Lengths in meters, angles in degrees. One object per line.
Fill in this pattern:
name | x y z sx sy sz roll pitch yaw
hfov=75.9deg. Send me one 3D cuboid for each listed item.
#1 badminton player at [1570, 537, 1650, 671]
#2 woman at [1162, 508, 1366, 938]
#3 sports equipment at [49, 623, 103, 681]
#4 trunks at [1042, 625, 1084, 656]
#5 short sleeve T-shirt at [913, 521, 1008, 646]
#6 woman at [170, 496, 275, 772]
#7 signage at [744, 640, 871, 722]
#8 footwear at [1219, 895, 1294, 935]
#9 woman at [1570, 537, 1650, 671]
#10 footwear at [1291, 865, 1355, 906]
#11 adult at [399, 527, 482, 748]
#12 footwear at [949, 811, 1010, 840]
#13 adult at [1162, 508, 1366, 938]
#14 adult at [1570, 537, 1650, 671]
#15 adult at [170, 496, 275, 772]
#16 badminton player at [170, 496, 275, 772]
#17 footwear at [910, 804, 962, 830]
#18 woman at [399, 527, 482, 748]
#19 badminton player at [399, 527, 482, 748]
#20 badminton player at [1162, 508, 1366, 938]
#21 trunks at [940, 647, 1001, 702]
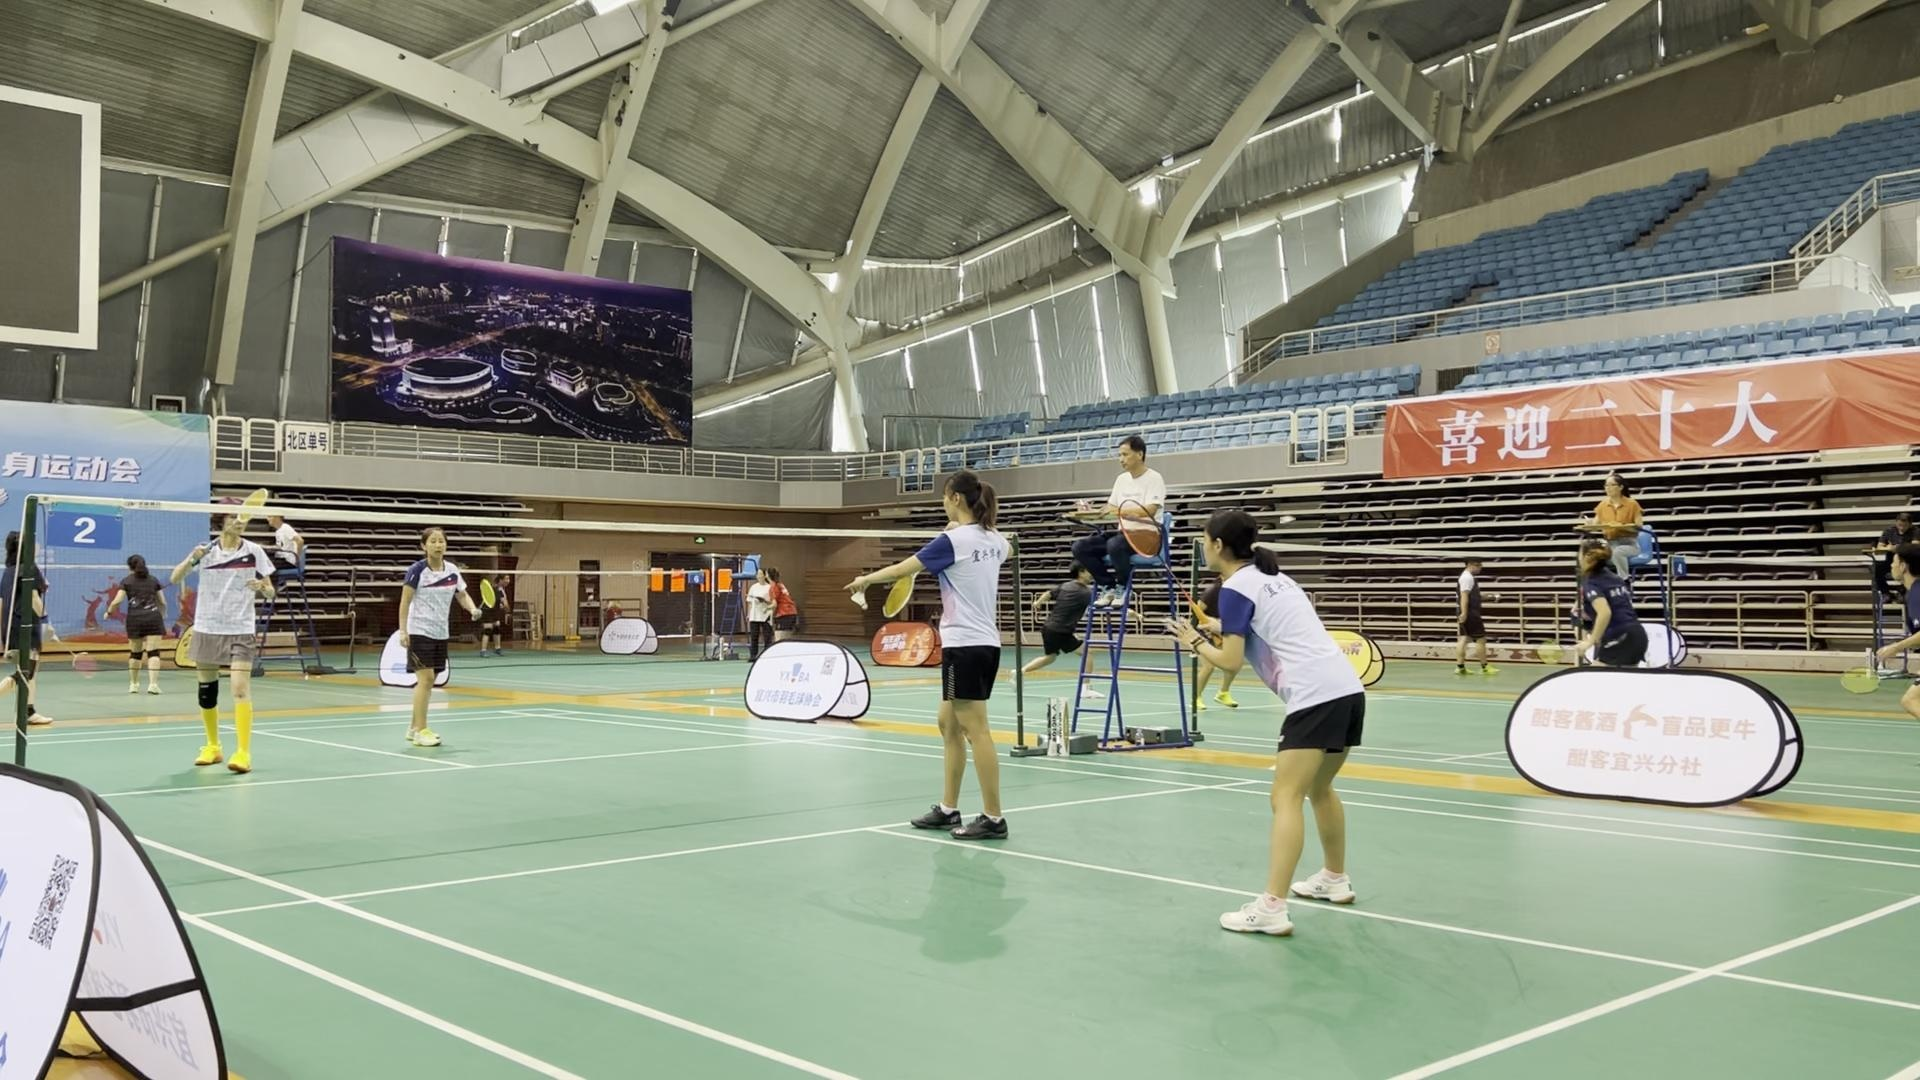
badminton player | 7.268 0.749 13.823 0.616 1.439 1.171 3 5 25
woman | 2.216 1.233 8.624 1.118 2.860 0.886 2 5 14
sports equipment | -16.308 2.053 22.740 0.474 0.341 1.320 -40 51 -18
trunks | 0.977 1.064 13.032 0.512 0.269 0.455 12 -3 -14
short sleeve T-shirt | -0.003 0.373 10.008 0.781 0.990 0.365 -1 5 -17
woman | -7.392 0.954 12.428 0.822 2.696 1.598 -3 6 -32
signage | -1.969 1.853 15.680 1.523 0.854 1.052 3 4 34
footwear | 2.032 2.558 8.435 0.568 0.233 0.218 1 -6 8
woman | 7.274 0.748 13.833 0.616 1.439 1.194 3 5 25
footwear | 2.608 2.521 8.983 0.509 0.204 0.202 3 -2 11
adult | -5.971 1.068 14.086 0.692 2.433 1.561 -1 5 -22
footwear | 0.159 2.340 10.068 0.456 0.183 0.198 1 -9 -2
adult | 2.223 1.233 8.617 1.131 2.860 0.852 1 5 10
adult | 7.258 0.743 13.806 0.633 1.423 1.148 3 5 27
adult | -7.396 0.953 12.438 0.803 2.696 1.609 -2 6 -31
badminton player | -7.373 0.954 12.398 0.822 2.693 1.527 -3 6 -32
footwear | -0.212 2.325 10.368 0.425 0.175 0.186 2 -8 -1
woman | -5.973 1.068 14.091 0.692 2.433 1.572 -1 5 -22
badminton player | -5.976 1.070 14.070 0.672 2.433 1.534 -1 5 -22
badminton player | 2.215 1.233 8.624 1.115 2.860 0.888 2 5 14
trunks | 0.037 1.065 10.039 0.433 0.388 0.590 1 -2 33
